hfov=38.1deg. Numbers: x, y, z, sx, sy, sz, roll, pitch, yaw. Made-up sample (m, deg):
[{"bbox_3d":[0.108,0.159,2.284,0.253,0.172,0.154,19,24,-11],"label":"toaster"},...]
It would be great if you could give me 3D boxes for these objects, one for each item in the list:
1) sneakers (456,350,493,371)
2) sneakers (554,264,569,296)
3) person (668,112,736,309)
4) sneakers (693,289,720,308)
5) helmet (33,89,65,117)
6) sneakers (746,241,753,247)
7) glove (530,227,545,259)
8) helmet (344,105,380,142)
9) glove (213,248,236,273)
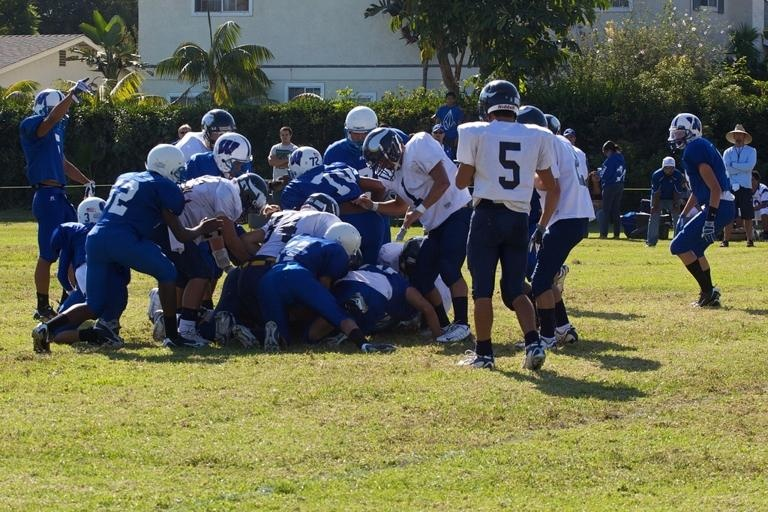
[{"bbox_3d":[1.161,1.343,14.184,0.515,0.220,0.186,5,1,12],"label":"sneakers"},{"bbox_3d":[2.539,0.352,15.997,0.168,0.501,0.212,-7,32,-12],"label":"sneakers"},{"bbox_3d":[4.882,-0.733,17.248,0.858,2.954,0.993,-1,4,17],"label":"person"},{"bbox_3d":[4.912,0.632,16.923,0.370,0.269,0.189,-1,4,13],"label":"sneakers"},{"bbox_3d":[-5.191,-2.339,17.276,0.367,0.454,0.485,-2,-17,21],"label":"helmet"},{"bbox_3d":[7.810,-0.246,23.750,0.134,0.125,0.133,2,-1,-31],"label":"sneakers"},{"bbox_3d":[2.074,-0.159,15.024,0.133,0.392,0.295,12,-21,8],"label":"glove"},{"bbox_3d":[-0.340,-1.978,16.932,0.441,0.476,0.522,6,-16,3],"label":"helmet"},{"bbox_3d":[-2.272,0.067,15.715,0.223,0.282,0.164,-27,18,-13],"label":"glove"}]
